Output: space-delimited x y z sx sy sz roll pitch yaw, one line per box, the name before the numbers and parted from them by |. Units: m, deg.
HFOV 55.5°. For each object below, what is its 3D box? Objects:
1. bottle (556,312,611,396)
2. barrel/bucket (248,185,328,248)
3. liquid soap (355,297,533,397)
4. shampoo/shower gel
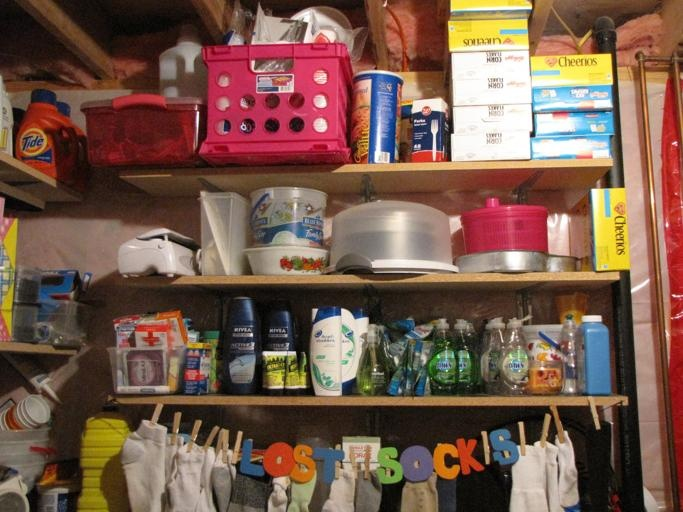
bottle | 0.812 0.330 2.161 0.156 0.259 0.137 -3 -5 0
barrel/bucket | -0.177 -0.131 2.190 0.231 0.133 0.216 0 -10 0
liquid soap | 0.249 0.352 2.325 0.795 0.428 0.229 -1 -9 3
shampoo/shower gel | -0.153 0.309 2.235 0.460 0.339 0.192 -4 -6 18
